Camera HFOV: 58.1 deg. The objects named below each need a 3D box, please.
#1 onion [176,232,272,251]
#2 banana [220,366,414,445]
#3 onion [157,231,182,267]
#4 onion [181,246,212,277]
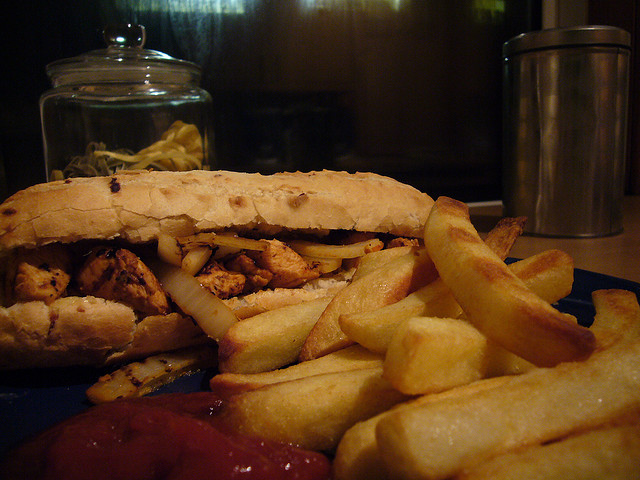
[{"bbox_3d":[-0.345,-0.010,1.930,0.252,0.065,0.181,-2,6,-37],"label":"onion"},{"bbox_3d":[-0.018,0.440,1.482,0.497,0.157,0.082,-7,17,0],"label":"banana"},{"bbox_3d":[-0.477,0.028,1.835,0.092,0.089,0.025,6,-11,-41],"label":"onion"},{"bbox_3d":[-0.410,0.065,1.893,0.052,0.058,0.112,-9,26,38],"label":"onion"}]
